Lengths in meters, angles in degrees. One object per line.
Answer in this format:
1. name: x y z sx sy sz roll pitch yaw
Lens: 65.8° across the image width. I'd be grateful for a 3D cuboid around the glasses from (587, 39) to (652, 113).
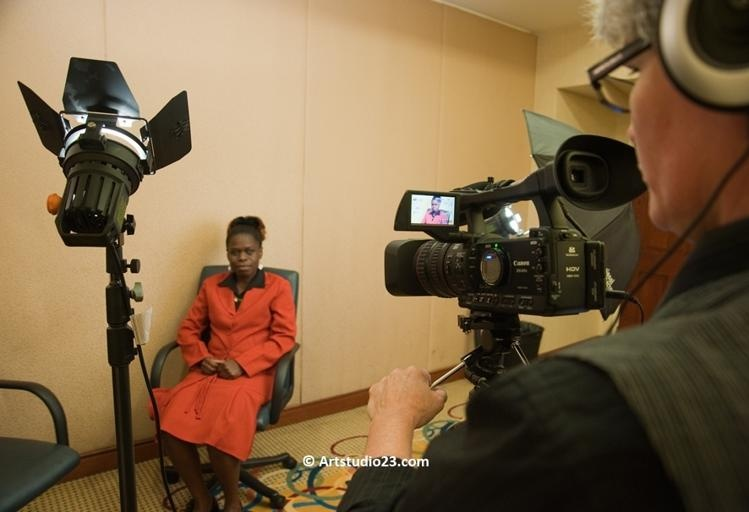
1. glasses: 0.446 -0.328 1.056 0.028 0.107 0.098 4 0 -16
